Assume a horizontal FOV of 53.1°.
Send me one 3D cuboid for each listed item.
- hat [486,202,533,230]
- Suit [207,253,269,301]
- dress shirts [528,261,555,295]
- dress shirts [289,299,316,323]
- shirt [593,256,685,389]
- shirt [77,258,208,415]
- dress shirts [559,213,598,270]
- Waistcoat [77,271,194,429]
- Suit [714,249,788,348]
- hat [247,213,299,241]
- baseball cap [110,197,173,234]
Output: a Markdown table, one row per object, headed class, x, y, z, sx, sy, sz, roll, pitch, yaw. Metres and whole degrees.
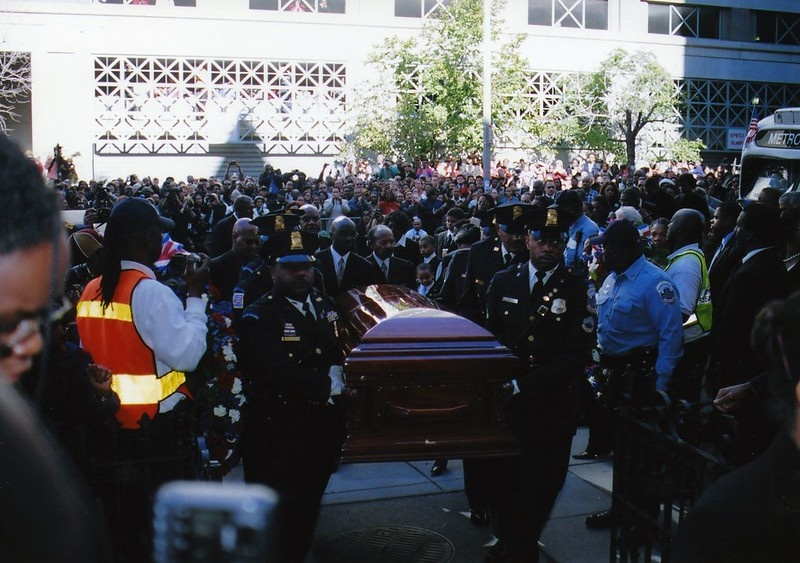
| class | x | y | z | sx | sy | sz | roll | pitch | yaw |
| --- | --- | --- | --- | --- | --- | --- | --- | --- | --- |
| hat | 0.739 | -0.439 | 5.270 | 0.189 | 0.089 | 0.210 | 2 | -7 | -7 |
| Suit | -1.202 | -0.031 | 6.056 | 0.360 | 0.352 | 0.202 | -2 | -8 | -7 |
| dress shirts | 0.832 | -0.020 | 4.712 | 0.126 | 0.093 | 0.179 | 0 | 6 | 0 |
| dress shirts | -0.527 | 0.140 | 4.460 | 0.136 | 0.072 | 0.106 | 54 | 21 | 22 |
| shirt | 1.560 | 0.235 | 5.407 | 0.407 | 0.853 | 0.945 | -2 | 6 | -17 |
| shirt | -1.306 | 0.285 | 4.088 | 0.721 | 0.750 | 0.451 | 4 | 10 | 34 |
| dress shirts | 1.441 | -0.311 | 6.443 | 0.267 | 0.471 | 0.518 | 0 | 7 | 3 |
| Waistcoat | -1.321 | 0.293 | 4.065 | 0.518 | 0.750 | 0.442 | 2 | 15 | 13 |
| Suit | 1.873 | 0.083 | 4.273 | 0.497 | 0.498 | 0.266 | -12 | 26 | -30 |
| hat | -0.888 | -0.391 | 5.677 | 0.335 | 0.133 | 0.372 | -4 | 2 | -15 |
| baseball cap | -1.304 | -0.341 | 4.041 | 0.255 | 0.149 | 0.168 | -6 | 13 | -29 |
